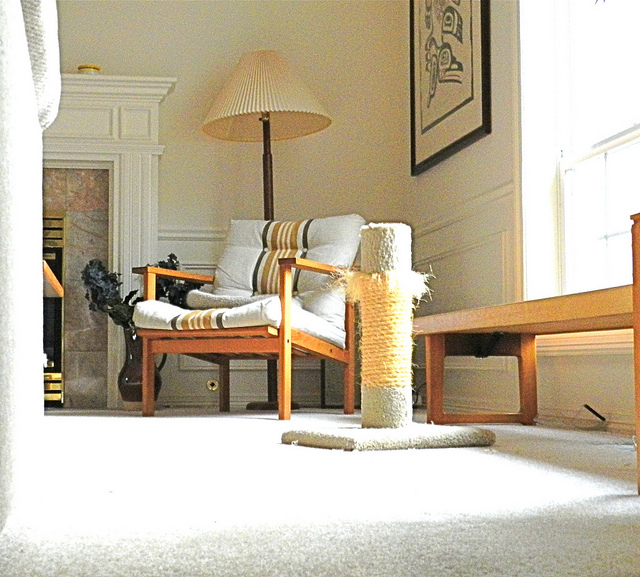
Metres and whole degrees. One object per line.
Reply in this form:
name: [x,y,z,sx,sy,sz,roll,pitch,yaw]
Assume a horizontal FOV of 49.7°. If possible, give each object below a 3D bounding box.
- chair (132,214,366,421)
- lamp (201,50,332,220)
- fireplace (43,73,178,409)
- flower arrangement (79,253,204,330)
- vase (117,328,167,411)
chair: [-0.275,0.075,2.820,0.776,0.781,0.837,-1,-2,17]
lamp: [-0.278,-0.718,3.686,0.718,1.082,0.685,-15,33,-22]
fireplace: [-1.259,-0.243,3.951,0.923,1.976,0.577,-1,3,-28]
flower arrangement: [-0.800,0.008,3.366,0.557,0.366,0.431,1,2,17]
vase: [-0.872,0.358,3.301,0.209,0.458,0.207,-15,-21,25]
